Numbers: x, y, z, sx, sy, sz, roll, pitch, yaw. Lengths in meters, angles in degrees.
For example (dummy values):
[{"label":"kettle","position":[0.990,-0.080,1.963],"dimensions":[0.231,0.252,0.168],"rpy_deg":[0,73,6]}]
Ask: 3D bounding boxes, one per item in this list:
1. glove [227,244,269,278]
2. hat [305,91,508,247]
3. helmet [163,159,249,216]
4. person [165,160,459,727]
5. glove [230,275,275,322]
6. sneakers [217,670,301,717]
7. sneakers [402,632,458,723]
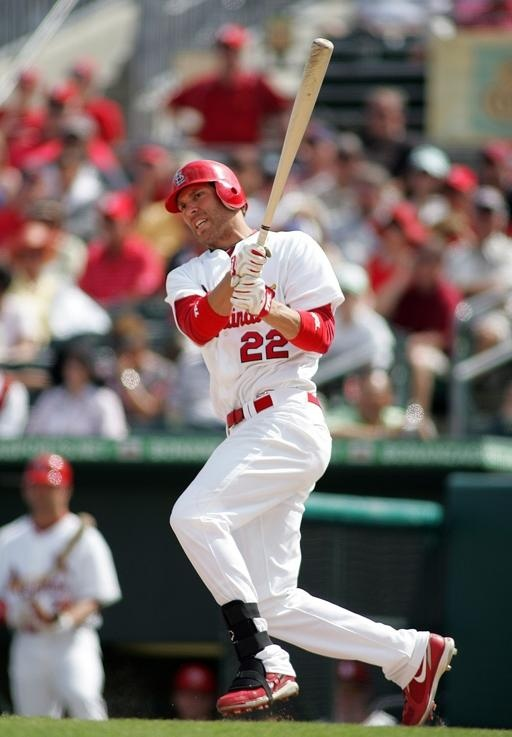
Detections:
[{"label":"glove","position":[-0.022,-0.289,3.168],"dimensions":[0.110,0.092,0.120],"rpy_deg":[-3,23,0]},{"label":"hat","position":[0.817,-1.359,7.570],"dimensions":[0.951,0.206,0.915],"rpy_deg":[34,48,31]},{"label":"helmet","position":[-0.144,-0.526,3.536],"dimensions":[0.224,0.158,0.144],"rpy_deg":[8,49,-22]},{"label":"person","position":[0.095,0.259,3.379],"dimensions":[0.725,1.593,1.084],"rpy_deg":[-6,25,-4]},{"label":"glove","position":[0.018,-0.186,3.199],"dimensions":[0.112,0.055,0.136],"rpy_deg":[-35,-14,30]},{"label":"sneakers","position":[0.009,0.871,3.182],"dimensions":[0.252,0.097,0.098],"rpy_deg":[-2,-19,-45]},{"label":"sneakers","position":[0.496,0.900,3.426],"dimensions":[0.176,0.302,0.108],"rpy_deg":[14,27,0]}]
